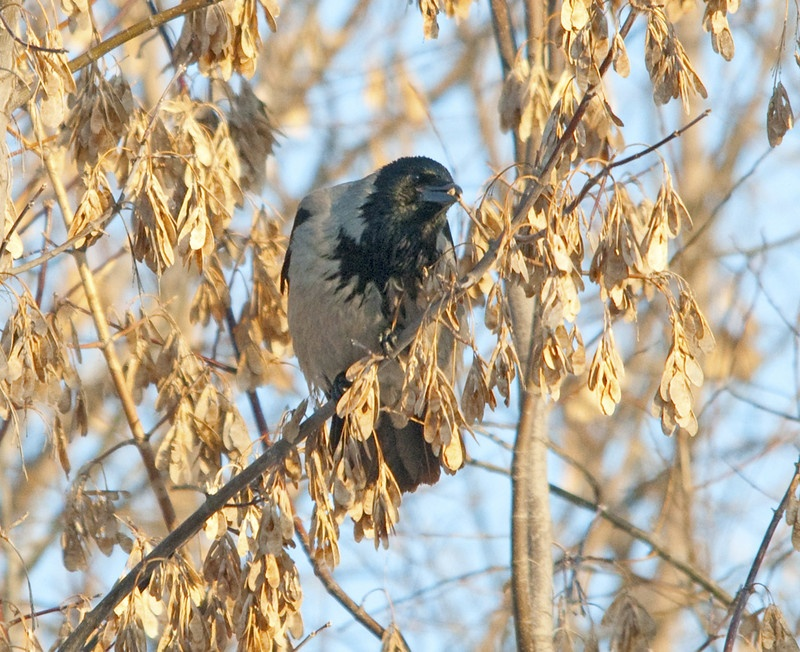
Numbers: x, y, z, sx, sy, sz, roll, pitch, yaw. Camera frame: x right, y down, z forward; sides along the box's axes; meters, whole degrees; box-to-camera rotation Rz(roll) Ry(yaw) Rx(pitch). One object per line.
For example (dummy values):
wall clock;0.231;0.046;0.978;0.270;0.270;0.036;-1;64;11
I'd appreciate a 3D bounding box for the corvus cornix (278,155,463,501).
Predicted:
corvus cornix;-0.187;-0.199;9.985;0.793;1.387;2.045;-3;-80;-6
